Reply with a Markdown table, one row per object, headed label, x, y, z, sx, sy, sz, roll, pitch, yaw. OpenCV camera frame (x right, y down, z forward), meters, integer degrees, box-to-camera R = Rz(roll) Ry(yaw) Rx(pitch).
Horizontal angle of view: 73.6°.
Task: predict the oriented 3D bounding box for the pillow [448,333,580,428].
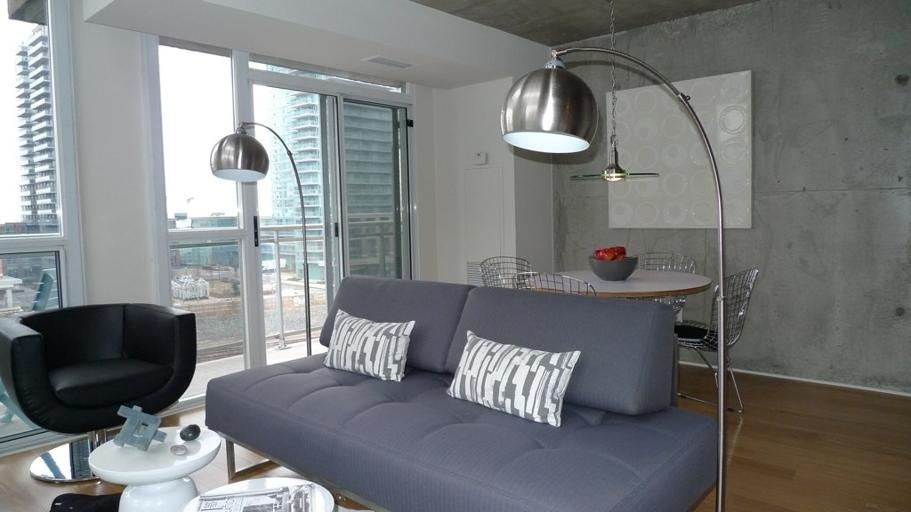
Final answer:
| label | x | y | z | sx | sy | sz | roll | pitch | yaw |
| --- | --- | --- | --- | --- | --- | --- | --- | --- | --- |
| pillow | 0.518 | 0.800 | 4.627 | 1.282 | 0.459 | 0.534 | 11 | 16 | 31 |

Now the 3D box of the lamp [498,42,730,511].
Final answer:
| label | x | y | z | sx | sy | sz | roll | pitch | yaw |
| --- | --- | --- | --- | --- | --- | --- | --- | --- | --- |
| lamp | 1.347 | -0.028 | 4.787 | 1.455 | 3.717 | 2.369 | 1 | 5 | 23 |

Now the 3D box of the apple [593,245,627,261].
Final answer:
| label | x | y | z | sx | sy | sz | roll | pitch | yaw |
| --- | --- | --- | --- | --- | --- | --- | --- | --- | --- |
| apple | 1.495 | -0.026 | 5.932 | 0.214 | 0.090 | 0.211 | -2 | 1 | 0 |
